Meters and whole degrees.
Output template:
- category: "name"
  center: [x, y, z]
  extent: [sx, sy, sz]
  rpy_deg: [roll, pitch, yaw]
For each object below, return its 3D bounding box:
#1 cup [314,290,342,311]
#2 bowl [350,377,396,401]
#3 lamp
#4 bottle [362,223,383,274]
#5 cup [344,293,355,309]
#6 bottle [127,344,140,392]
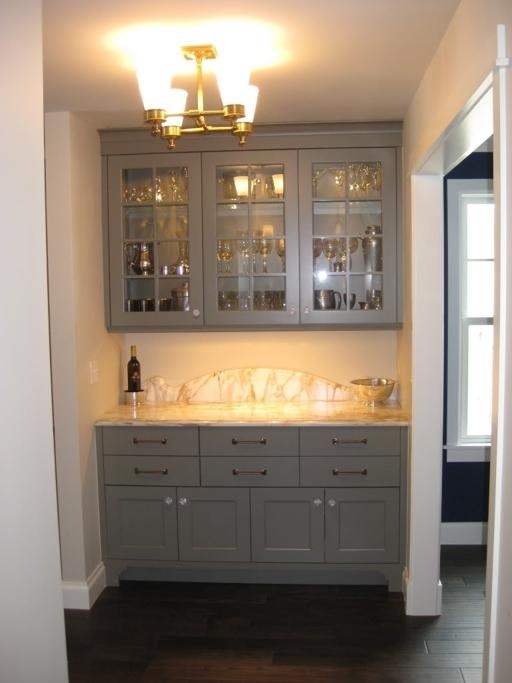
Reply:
- category: "cup"
  center: [0.364, -0.216, 3.193]
  extent: [0.141, 0.096, 0.089]
  rpy_deg: [-4, 7, -28]
- category: "bowl"
  center: [0.625, 0.273, 3.375]
  extent: [0.221, 0.130, 0.315]
  rpy_deg: [0, 4, 7]
- category: "lamp"
  center: [-0.188, -0.819, 2.052]
  extent: [0.354, 0.294, 0.238]
  rpy_deg: [1, 7, 10]
- category: "bottle"
  center: [0.584, -0.471, 3.163]
  extent: [0.104, 0.242, 0.039]
  rpy_deg: [0, 5, 10]
- category: "cup"
  center: [0.482, -0.212, 3.237]
  extent: [0.072, 0.080, 0.072]
  rpy_deg: [0, 2, 0]
- category: "bottle"
  center: [-0.701, 0.149, 3.556]
  extent: [0.081, 0.269, 0.256]
  rpy_deg: [-2, 5, -11]
